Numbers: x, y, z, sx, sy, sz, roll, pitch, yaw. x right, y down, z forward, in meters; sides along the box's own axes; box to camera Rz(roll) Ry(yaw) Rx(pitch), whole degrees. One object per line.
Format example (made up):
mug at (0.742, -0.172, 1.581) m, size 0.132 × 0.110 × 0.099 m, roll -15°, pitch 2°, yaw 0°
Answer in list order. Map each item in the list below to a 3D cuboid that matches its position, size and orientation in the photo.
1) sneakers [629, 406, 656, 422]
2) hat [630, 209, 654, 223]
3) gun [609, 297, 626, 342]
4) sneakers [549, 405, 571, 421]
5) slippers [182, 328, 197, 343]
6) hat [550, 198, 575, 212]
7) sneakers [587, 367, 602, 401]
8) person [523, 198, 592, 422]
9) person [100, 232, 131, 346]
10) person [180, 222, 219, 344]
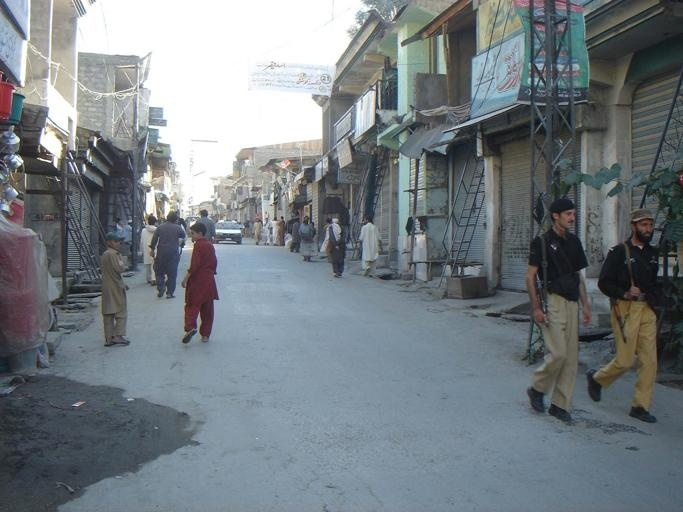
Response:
sneakers at (2.990, 1.555, 6.017) m, size 0.106 × 0.103 × 0.213 m, roll 3°, pitch -1°, yaw -38°
hat at (3.159, -0.434, 6.410) m, size 0.181 × 0.134 × 0.225 m, roll -2°, pitch -5°, yaw 2°
gun at (2.853, 0.647, 6.258) m, size 0.077 × 0.368 × 0.060 m, roll -17°, pitch -25°, yaw 24°
sneakers at (2.181, 1.567, 6.080) m, size 0.099 × 0.113 × 0.239 m, roll -5°, pitch 3°, yaw -22°
slippers at (-2.309, 1.201, 9.157) m, size 0.152 × 0.072 × 0.147 m, roll -47°, pitch 1°, yaw -4°
hat at (2.300, -0.529, 6.333) m, size 0.162 × 0.109 × 0.167 m, roll -4°, pitch 0°, yaw 40°
sneakers at (2.698, 1.380, 6.522) m, size 0.122 × 0.345 × 0.134 m, roll -6°, pitch 0°, yaw -12°
person at (2.218, 0.508, 6.248) m, size 0.606 × 2.192 × 0.656 m, roll 4°, pitch 6°, yaw 31°
person at (-3.429, 0.493, 9.109) m, size 0.374 × 1.608 × 0.645 m, roll -2°, pitch 6°, yaw -22°
person at (-2.229, 0.380, 9.423) m, size 0.539 × 1.805 × 0.971 m, roll -1°, pitch 5°, yaw -13°
